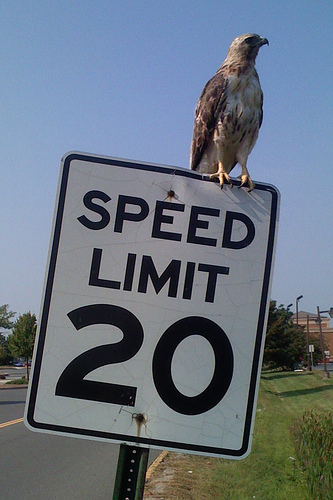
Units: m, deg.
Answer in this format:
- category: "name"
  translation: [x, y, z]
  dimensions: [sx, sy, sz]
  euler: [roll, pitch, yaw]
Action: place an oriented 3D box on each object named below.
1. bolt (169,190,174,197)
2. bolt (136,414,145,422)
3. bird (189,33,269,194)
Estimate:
- category: "bolt"
  translation: [0.014, -0.167, 1.464]
  dimensions: [0.012, 0.019, 0.005]
  euler: [-1, -1, -8]
- category: "bolt"
  translation: [-0.071, 0.459, 1.360]
  dimensions: [0.016, 0.018, 0.018]
  euler: [-13, 13, 6]
- category: "bird"
  translation: [0.427, -1.003, 3.228]
  dimensions: [0.401, 1.210, 0.786]
  euler: [7, -10, -2]
